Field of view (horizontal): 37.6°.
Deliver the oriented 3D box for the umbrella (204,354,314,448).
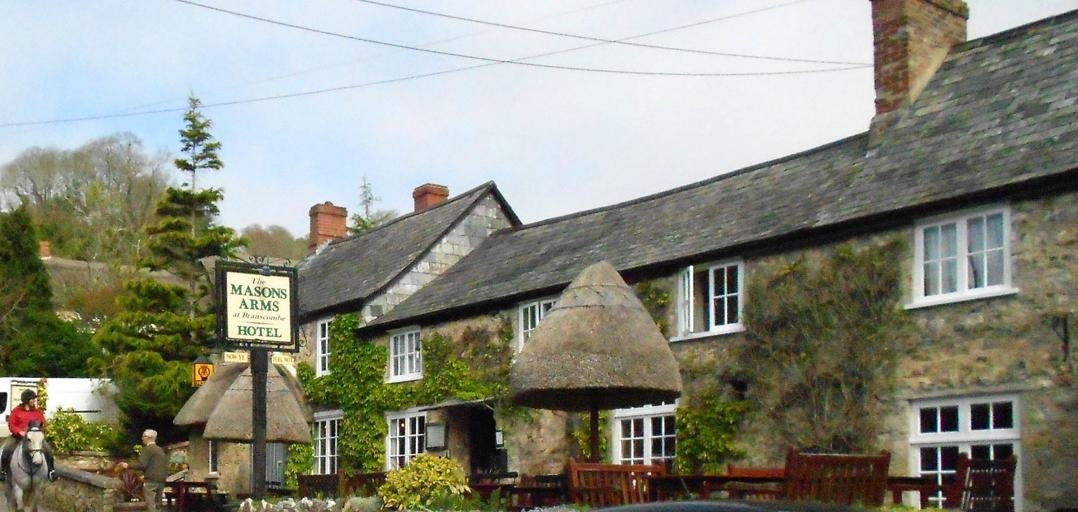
[{"bbox_3d":[-11.878,6.358,66.633,3.904,2.587,4.053,10,-15,-40],"label":"umbrella"}]
